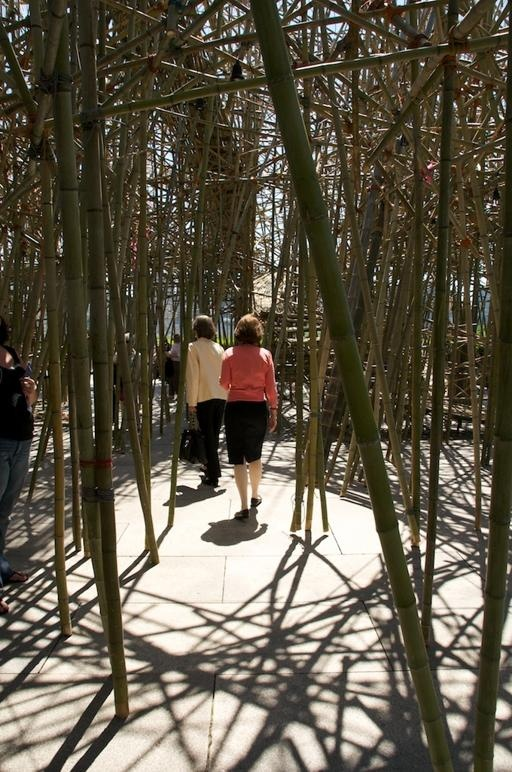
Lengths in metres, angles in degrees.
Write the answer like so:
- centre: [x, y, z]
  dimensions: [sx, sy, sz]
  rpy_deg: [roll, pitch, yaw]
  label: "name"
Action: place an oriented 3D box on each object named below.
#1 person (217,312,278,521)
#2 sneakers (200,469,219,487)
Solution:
- centre: [-0.045, 0.160, 3.234]
  dimensions: [0.320, 1.163, 0.459]
  rpy_deg: [0, 4, 1]
  label: "person"
- centre: [-0.321, 0.643, 3.837]
  dimensions: [0.083, 0.079, 0.122]
  rpy_deg: [2, -18, -12]
  label: "sneakers"
